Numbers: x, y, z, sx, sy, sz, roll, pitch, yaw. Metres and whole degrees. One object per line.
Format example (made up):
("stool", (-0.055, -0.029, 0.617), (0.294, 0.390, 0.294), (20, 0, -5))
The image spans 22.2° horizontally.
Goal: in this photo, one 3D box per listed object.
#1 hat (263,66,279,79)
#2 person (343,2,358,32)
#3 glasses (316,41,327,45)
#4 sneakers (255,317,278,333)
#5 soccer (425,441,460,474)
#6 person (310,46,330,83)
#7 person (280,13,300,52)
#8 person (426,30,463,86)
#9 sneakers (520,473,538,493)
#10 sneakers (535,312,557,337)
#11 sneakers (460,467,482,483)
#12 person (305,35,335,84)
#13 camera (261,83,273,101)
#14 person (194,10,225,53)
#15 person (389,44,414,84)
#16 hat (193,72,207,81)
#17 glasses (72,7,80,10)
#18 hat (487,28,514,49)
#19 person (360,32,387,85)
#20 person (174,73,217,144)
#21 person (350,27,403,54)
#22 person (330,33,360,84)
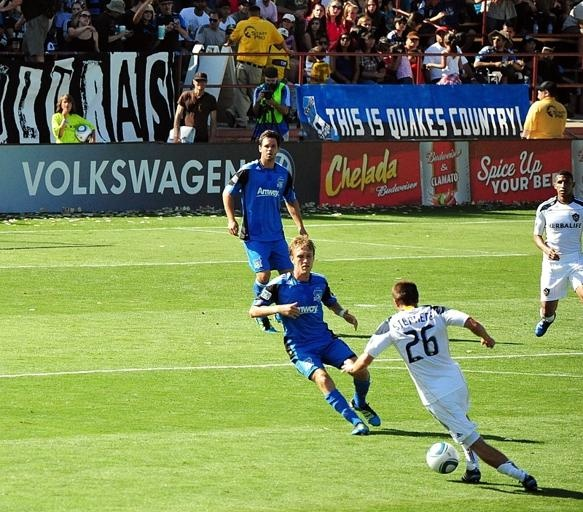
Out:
("hat", (-0.370, -3.677, 29.389), (0.216, 0.248, 0.292), (-1, -5, -11))
("person", (1.380, -5.475, 33.748), (0.331, 0.670, 0.859), (1, 11, 1))
("glasses", (0.726, -4.729, 32.698), (0.206, 0.170, 0.184), (0, 11, -3))
("sneakers", (-0.296, 0.937, 19.933), (0.139, 0.176, 0.404), (-4, 9, -32))
("soccer", (1.552, 2.071, 14.981), (0.397, 0.344, 0.404), (4, 7, 6))
("person", (0.684, -4.220, 32.557), (0.459, 0.803, 1.110), (1, 11, 1))
("person", (-0.006, -4.940, 33.070), (0.298, 0.886, 0.265), (6, -9, -5))
("person", (3.508, -4.528, 33.761), (0.823, 1.179, 1.560), (2, 11, 6))
("sneakers", (2.383, 2.294, 14.695), (0.154, 0.205, 0.203), (11, -29, 6))
("sneakers", (3.379, 0.929, 19.622), (0.178, 0.157, 0.445), (-3, -27, -16))
("sneakers", (1.838, 2.249, 15.023), (0.088, 0.134, 0.244), (1, -3, -10))
("person", (0.590, -4.212, 32.871), (0.576, 0.928, 0.675), (6, 15, 20))
("camera", (-0.456, -3.310, 29.764), (0.293, 0.289, 0.106), (-1, -3, -25))
("person", (-1.705, -4.921, 32.254), (0.815, 1.061, 0.707), (3, 10, -4))
("person", (2.525, -4.323, 33.327), (0.500, 0.835, 1.158), (2, 11, 4))
("hat", (-1.807, -3.678, 30.098), (0.217, 0.159, 0.302), (7, -3, -1))
("glasses", (-4.372, -5.087, 30.287), (0.106, 0.059, 0.135), (-2, -5, -1))
("hat", (4.916, -5.066, 34.584), (0.514, 0.426, 0.696), (3, 12, 8))
("person", (1.862, -4.414, 33.151), (0.865, 1.328, 0.909), (3, 9, 15))
("person", (-1.962, -3.075, 30.506), (0.905, 1.470, 0.955), (0, 11, -5))
("person", (1.849, -4.779, 33.000), (0.894, 0.397, 0.610), (9, 10, 4))
("person", (1.239, -4.103, 33.113), (0.654, 1.721, 0.623), (-3, 8, -10))
